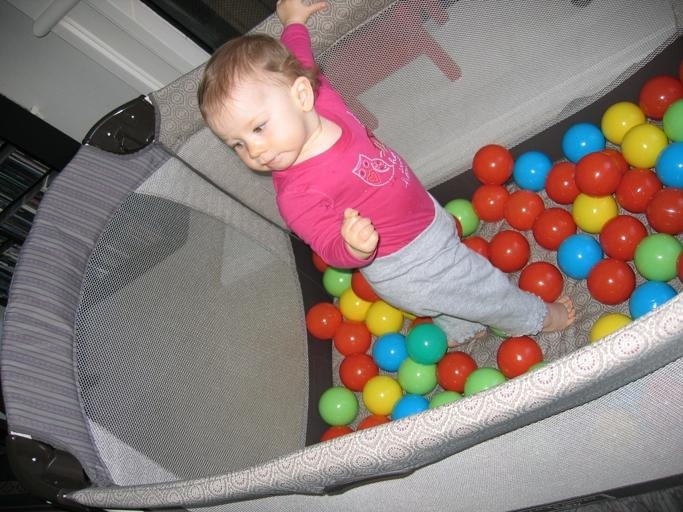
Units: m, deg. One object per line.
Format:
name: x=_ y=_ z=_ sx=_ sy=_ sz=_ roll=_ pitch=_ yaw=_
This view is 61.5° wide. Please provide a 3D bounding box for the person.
person: x=0.147 y=-0.229 z=1.634 sx=0.341 sy=0.901 sz=0.839 roll=-45 pitch=38 yaw=25
